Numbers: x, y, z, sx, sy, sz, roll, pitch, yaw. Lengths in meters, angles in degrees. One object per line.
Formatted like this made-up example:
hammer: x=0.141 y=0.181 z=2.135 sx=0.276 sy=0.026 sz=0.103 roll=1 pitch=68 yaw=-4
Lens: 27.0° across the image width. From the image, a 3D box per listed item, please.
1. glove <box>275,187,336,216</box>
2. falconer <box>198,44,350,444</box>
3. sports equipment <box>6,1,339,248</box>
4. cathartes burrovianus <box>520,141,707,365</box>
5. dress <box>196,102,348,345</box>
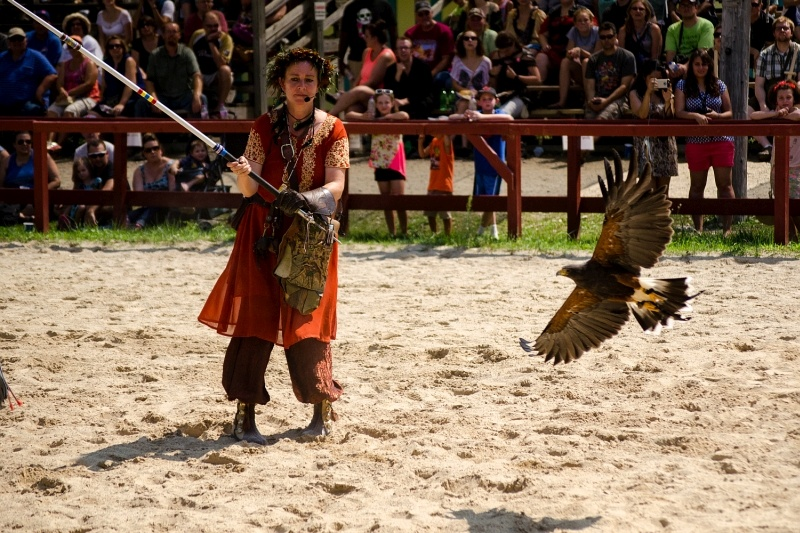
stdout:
glove: x=-0.930 y=-0.634 z=16.052 sx=0.401 sy=0.160 sz=0.284 roll=-4 pitch=6 yaw=-28
falconer: x=-1.130 y=-0.231 z=16.266 sx=1.531 sy=3.914 sz=1.507 roll=4 pitch=-2 yaw=-19
sports equipment: x=-3.100 y=-1.758 z=21.353 sx=5.422 sy=0.643 sz=0.831 roll=35 pitch=-13 yaw=-8
cathartes burrovianus: x=2.054 y=-0.054 z=15.987 sx=1.447 sy=2.100 sz=0.656 roll=2 pitch=4 yaw=13
dress: x=-1.313 y=-0.421 z=16.750 sx=1.149 sy=2.549 sz=2.102 roll=1 pitch=-3 yaw=-4
